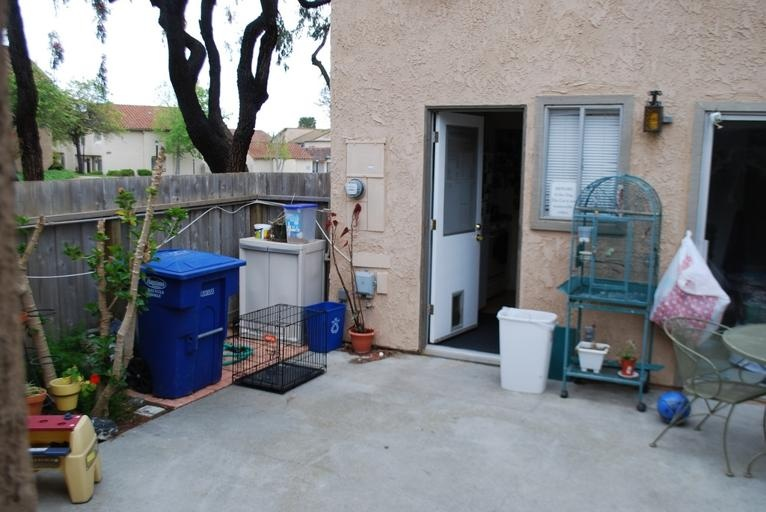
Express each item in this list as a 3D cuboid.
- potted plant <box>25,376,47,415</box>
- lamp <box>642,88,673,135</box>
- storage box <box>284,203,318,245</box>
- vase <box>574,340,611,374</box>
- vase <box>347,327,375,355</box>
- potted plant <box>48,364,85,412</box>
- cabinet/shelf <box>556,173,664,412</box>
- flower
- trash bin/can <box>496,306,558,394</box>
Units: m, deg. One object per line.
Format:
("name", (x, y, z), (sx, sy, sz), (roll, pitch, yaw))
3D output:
("potted plant", (-3.162, 1.292, 5.190), (0.139, 0.221, 0.482), (-8, 16, -31))
("lamp", (2.903, -1.517, 6.018), (0.277, 0.456, 0.173), (7, 15, 25))
("storage box", (-1.188, -0.404, 7.989), (0.462, 0.649, 0.673), (2, 3, 21))
("vase", (2.244, 1.043, 6.154), (0.303, 0.264, 0.357), (1, 4, 20))
("vase", (-0.299, 1.080, 7.330), (0.301, 0.225, 0.300), (2, 5, 14))
("potted plant", (-2.978, 1.235, 5.401), (0.367, 0.347, 0.375), (-1, -6, 32))
("cabinet/shelf", (2.441, 0.314, 6.106), (1.066, 2.338, 0.841), (5, 14, 18))
("flower", (-0.506, 0.109, 7.528), (0.342, 1.653, 0.769), (-13, 19, -43))
("trash bin/can", (1.542, 1.013, 6.256), (0.592, 0.885, 0.340), (4, 14, 14))
